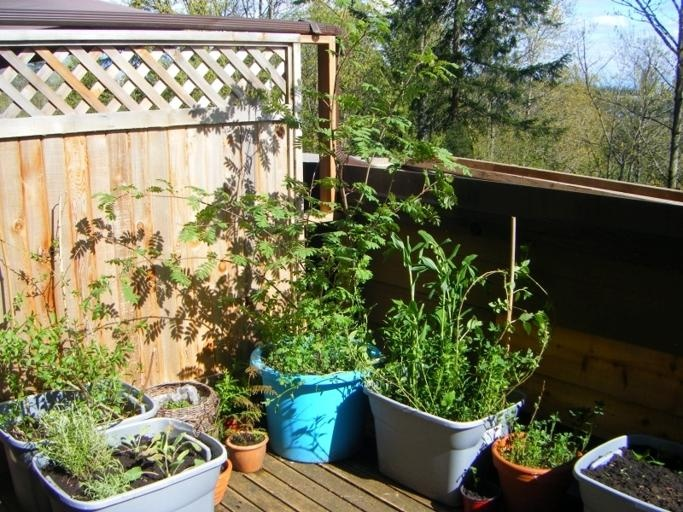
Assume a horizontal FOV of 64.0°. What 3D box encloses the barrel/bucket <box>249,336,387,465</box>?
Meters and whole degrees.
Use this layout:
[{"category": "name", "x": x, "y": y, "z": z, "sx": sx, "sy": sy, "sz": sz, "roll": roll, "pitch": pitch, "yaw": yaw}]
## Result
[{"category": "barrel/bucket", "x": -0.158, "y": 0.862, "z": 3.007, "sx": 0.570, "sy": 0.482, "sz": 0.609, "roll": 0, "pitch": 5, "yaw": 0}]
